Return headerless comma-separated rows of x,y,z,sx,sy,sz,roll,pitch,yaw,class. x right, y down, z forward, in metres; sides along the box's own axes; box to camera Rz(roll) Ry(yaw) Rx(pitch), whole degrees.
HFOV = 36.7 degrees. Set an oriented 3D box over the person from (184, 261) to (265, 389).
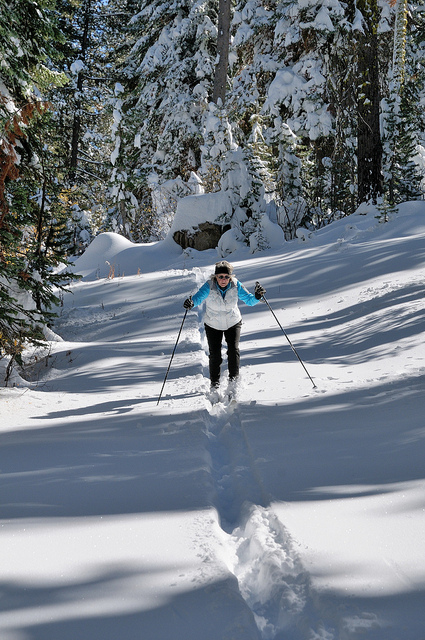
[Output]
0.121,0.009,6.366,0.726,1.160,0.850,-2,13,4,person
